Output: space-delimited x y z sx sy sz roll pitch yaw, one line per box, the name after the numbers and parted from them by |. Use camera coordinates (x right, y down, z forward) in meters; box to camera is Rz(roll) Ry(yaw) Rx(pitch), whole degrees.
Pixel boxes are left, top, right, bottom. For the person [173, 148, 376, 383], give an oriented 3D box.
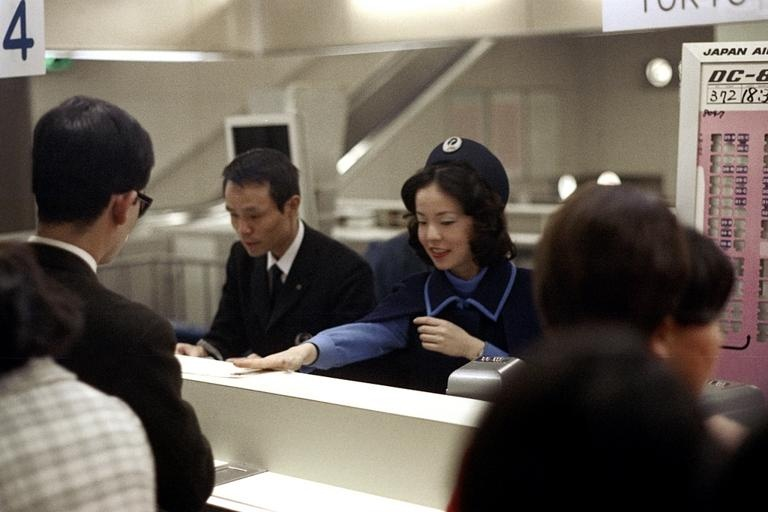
-0.399 -0.117 2.589 0.779 0.983 0.688 9 15 37 | person

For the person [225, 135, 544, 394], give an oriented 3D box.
-0.021 0.104 2.305 0.862 1.250 0.557 8 -11 -40 | person
